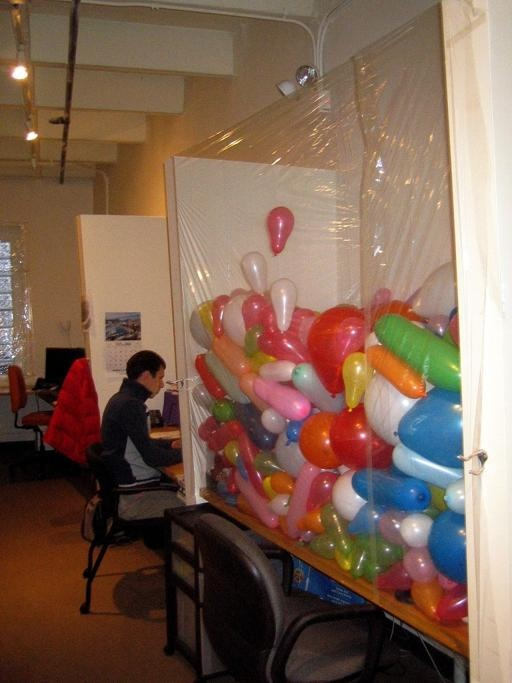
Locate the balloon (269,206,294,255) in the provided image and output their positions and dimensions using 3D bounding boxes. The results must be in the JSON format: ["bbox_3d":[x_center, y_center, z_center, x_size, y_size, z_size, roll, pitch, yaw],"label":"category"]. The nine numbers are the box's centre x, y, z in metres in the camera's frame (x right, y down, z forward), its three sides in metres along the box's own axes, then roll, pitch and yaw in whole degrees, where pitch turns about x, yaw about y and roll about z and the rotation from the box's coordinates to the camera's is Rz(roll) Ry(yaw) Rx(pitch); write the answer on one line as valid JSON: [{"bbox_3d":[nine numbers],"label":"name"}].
[{"bbox_3d":[0.081,-0.357,1.709,0.082,0.147,0.197,-1,-1,2],"label":"balloon"}]

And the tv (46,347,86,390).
[{"bbox_3d":[-2.325,0.297,6.323,0.364,0.451,0.579,-1,-1,-37],"label":"tv"}]
